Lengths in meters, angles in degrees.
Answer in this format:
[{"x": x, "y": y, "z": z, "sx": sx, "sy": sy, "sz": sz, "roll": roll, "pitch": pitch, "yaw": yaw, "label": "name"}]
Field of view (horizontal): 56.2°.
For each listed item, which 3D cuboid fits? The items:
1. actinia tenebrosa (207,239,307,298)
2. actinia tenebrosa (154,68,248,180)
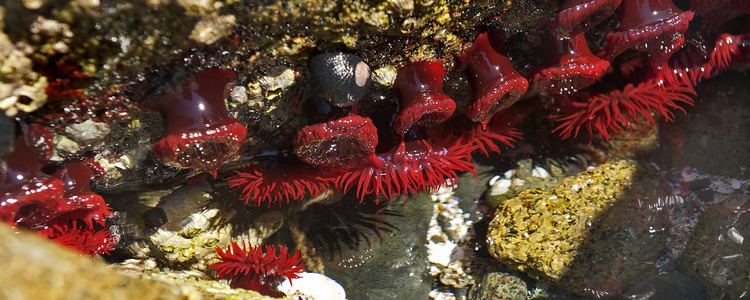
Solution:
[{"x": -1.211, "y": 1.177, "z": 7.128, "sx": 0.798, "sy": 0.326, "sz": 0.692, "roll": 11, "pitch": 3, "yaw": -9, "label": "actinia tenebrosa"}, {"x": -1.680, "y": -0.266, "z": 6.550, "sx": 1.002, "sy": 0.869, "sz": 0.514, "roll": -13, "pitch": 11, "yaw": -6, "label": "actinia tenebrosa"}]
